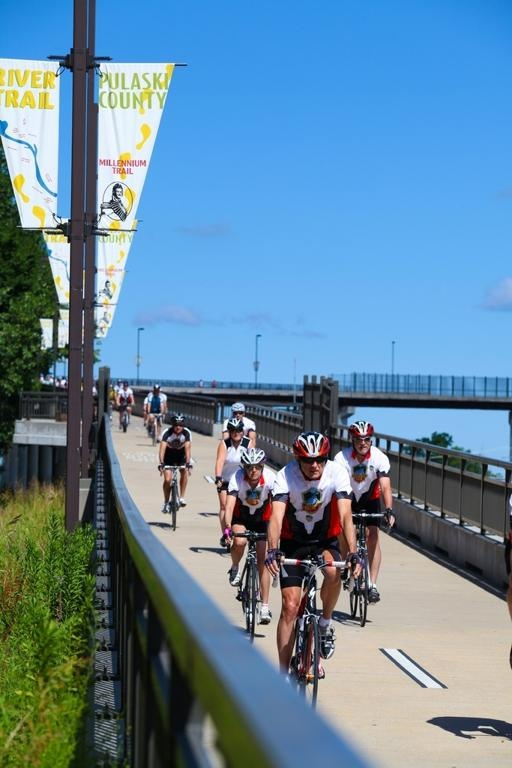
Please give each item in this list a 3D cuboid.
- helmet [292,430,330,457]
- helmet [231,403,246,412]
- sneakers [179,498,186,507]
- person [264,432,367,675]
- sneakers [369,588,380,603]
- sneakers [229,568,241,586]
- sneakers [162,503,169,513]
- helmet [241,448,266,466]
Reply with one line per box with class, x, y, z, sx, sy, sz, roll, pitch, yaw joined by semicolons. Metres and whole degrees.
helmet;0.447;0.504;7.623;0.284;0.204;0.258;5;-1;2
helmet;-0.315;0.403;16.101;0.130;0.209;0.177;-1;-1;4
sneakers;-1.522;2.441;19.115;0.098;0.141;0.297;-2;-9;-5
person;0.475;1.395;7.692;0.759;1.942;1.062;4;-1;9
sneakers;1.382;2.484;10.846;0.072;0.106;0.236;0;-40;5
sneakers;-0.274;2.388;11.498;0.125;0.196;0.412;2;-3;-7
sneakers;-1.840;2.538;18.996;0.127;0.197;0.193;4;-21;-7
helmet;-0.034;0.798;9.932;0.244;0.189;0.470;5;-1;0
